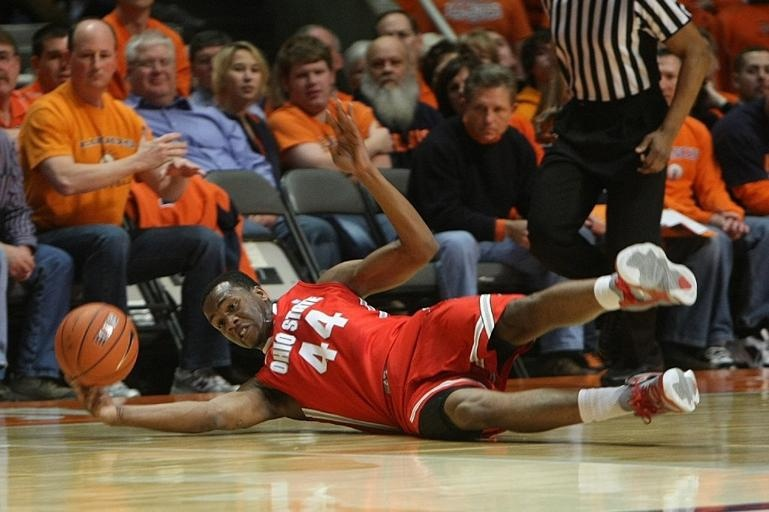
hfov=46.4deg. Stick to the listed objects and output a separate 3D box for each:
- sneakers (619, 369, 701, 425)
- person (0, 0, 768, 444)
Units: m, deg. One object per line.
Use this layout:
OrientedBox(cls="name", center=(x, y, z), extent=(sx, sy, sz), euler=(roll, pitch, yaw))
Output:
OrientedBox(cls="sneakers", center=(0.970, 0.483, 3.146), extent=(0.242, 0.166, 0.130), euler=(-4, -24, 23))
OrientedBox(cls="person", center=(0.067, 0.054, 3.714), extent=(2.306, 1.461, 0.680), euler=(-3, 3, 18))
